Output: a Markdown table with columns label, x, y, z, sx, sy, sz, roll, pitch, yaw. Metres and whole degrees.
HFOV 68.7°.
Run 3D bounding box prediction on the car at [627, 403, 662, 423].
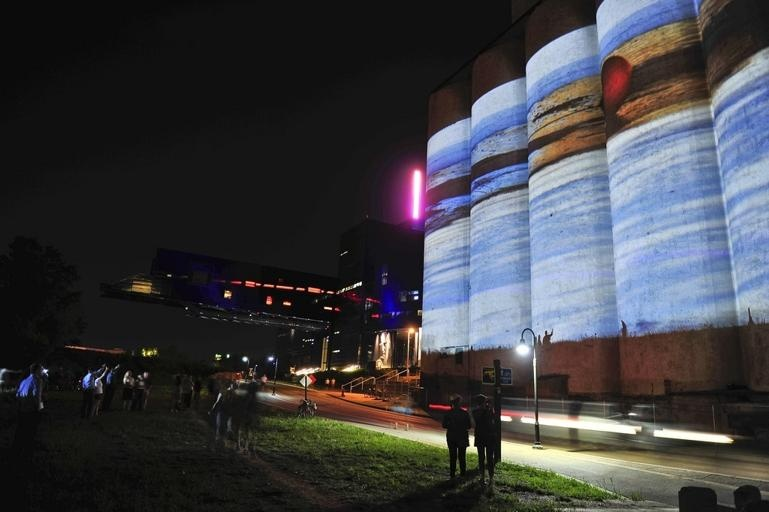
| label | x | y | z | sx | sy | sz | roll | pitch | yaw |
| --- | --- | --- | --- | --- | --- | --- | --- | --- | --- |
| car | 20.378 | 12.237 | 43.807 | 2.290 | 1.349 | 0.636 | -6 | -19 | 25 |

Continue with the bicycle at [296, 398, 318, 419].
| label | x | y | z | sx | sy | sz | roll | pitch | yaw |
| --- | --- | --- | --- | --- | --- | --- | --- | --- | --- |
| bicycle | -6.111 | 11.798 | 43.896 | 1.498 | 0.928 | 2.063 | 6 | -4 | -24 |
